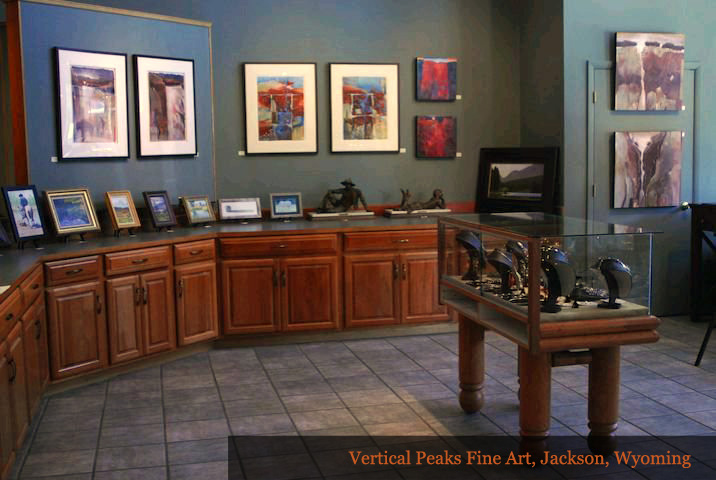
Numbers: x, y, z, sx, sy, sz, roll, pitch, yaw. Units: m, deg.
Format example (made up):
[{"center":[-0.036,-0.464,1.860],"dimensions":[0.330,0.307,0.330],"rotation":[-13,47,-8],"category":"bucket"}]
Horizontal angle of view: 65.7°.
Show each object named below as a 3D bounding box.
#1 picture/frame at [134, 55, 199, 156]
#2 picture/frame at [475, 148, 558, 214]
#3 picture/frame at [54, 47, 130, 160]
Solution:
[{"center":[-2.028,-1.394,5.853],"dimensions":[0.153,1.011,0.708],"rotation":[10,16,43],"category":"picture/frame"},{"center":[1.857,-0.660,6.365],"dimensions":[0.992,0.711,0.072],"rotation":[2,0,31],"category":"picture/frame"},{"center":[-2.580,-1.301,5.393],"dimensions":[0.734,1.015,0.097],"rotation":[-12,16,-42],"category":"picture/frame"}]
